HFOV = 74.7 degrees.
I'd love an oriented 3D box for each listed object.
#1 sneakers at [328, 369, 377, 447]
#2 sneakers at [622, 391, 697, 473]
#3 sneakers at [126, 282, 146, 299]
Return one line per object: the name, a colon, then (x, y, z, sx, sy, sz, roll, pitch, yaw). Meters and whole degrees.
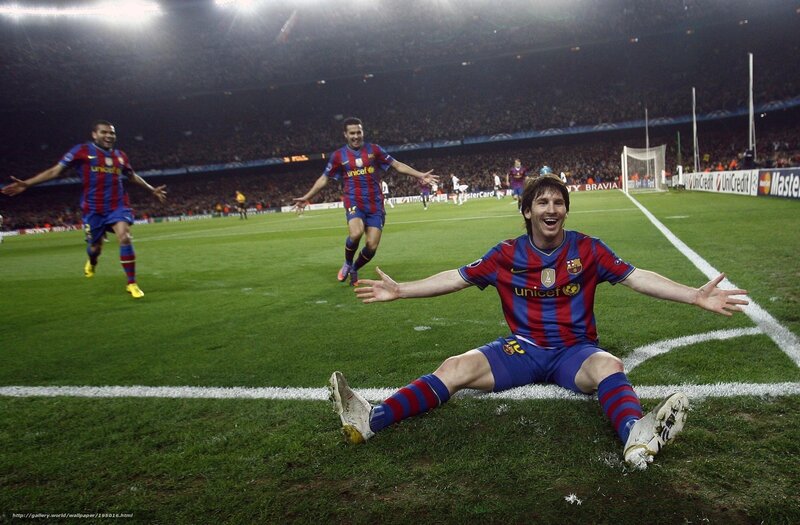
sneakers: (-0.299, 0.892, 3.225, 0.237, 0.510, 0.175, -18, -11, -31)
sneakers: (1.416, 0.896, 2.987, 0.559, 0.215, 0.247, -37, 7, -19)
sneakers: (-3.551, 0.373, 7.080, 0.163, 0.152, 0.385, -16, 14, -29)
